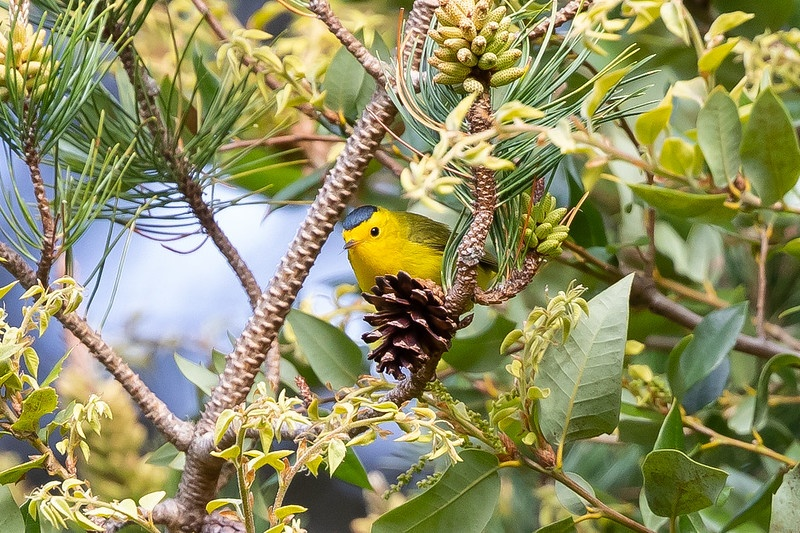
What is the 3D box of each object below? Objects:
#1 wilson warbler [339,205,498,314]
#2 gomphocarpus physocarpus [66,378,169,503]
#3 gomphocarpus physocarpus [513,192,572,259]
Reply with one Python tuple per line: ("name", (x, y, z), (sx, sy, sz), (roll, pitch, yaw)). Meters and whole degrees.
("wilson warbler", (0.076, -0.013, 2.639), (0.424, 0.288, 0.249), (-3, -24, -30))
("gomphocarpus physocarpus", (-0.656, 0.404, 2.272), (0.164, 0.155, 0.367), (4, 33, -17))
("gomphocarpus physocarpus", (0.261, -0.076, 1.794), (0.080, 0.126, 0.120), (-12, 13, 30))
